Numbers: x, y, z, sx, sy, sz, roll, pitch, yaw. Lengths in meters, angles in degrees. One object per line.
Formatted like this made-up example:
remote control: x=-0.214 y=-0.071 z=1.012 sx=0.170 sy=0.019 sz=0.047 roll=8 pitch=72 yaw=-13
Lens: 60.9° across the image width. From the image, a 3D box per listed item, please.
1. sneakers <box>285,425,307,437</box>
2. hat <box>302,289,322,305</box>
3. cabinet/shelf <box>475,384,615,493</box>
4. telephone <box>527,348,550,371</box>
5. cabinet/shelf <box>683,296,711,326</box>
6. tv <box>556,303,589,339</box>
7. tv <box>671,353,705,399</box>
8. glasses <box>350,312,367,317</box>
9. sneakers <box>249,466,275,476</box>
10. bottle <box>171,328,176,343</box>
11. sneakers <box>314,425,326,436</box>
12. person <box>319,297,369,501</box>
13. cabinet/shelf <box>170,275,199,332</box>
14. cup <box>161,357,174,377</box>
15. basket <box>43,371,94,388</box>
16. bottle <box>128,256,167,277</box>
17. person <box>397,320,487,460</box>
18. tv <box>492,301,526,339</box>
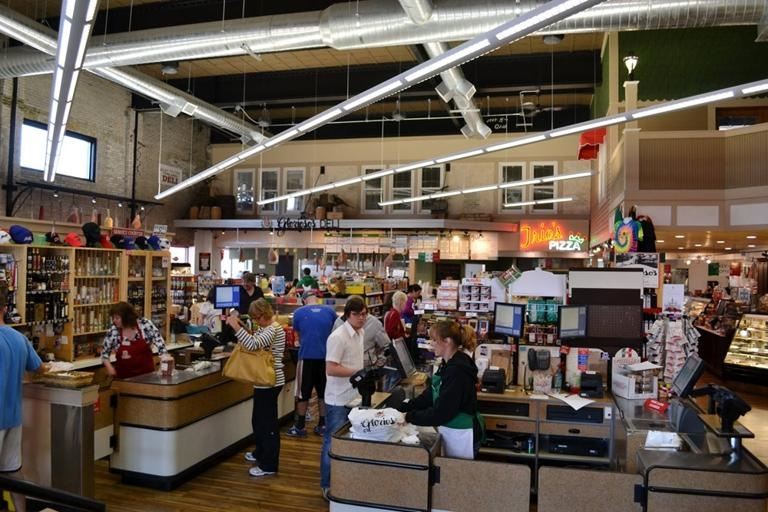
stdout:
sneakers: x=-1.403 y=2.807 z=10.509 sx=0.322 sy=0.146 sz=0.140 roll=2 pitch=-3 yaw=25
hat: x=-1.144 y=0.661 z=10.558 sx=0.270 sy=0.305 sz=0.383 roll=0 pitch=-17 yaw=-16
cabinet/shelf: x=2.087 y=2.347 z=8.411 sx=1.518 sy=0.968 sz=0.507 roll=2 pitch=-3 yaw=5
telephone: x=2.098 y=1.380 z=8.921 sx=0.301 sy=0.236 sz=0.312 roll=-5 pitch=-6 yaw=38
cabinet/shelf: x=7.834 y=1.338 z=16.383 sx=0.550 sy=0.626 sz=1.978 roll=0 pitch=-2 yaw=26
tv: x=2.637 y=0.913 z=9.170 sx=0.552 sy=0.463 sz=0.084 roll=1 pitch=-2 yaw=-38
tv: x=3.978 y=1.594 z=8.576 sx=0.327 sy=0.578 sz=0.627 roll=0 pitch=-1 yaw=19
glasses: x=-0.346 y=0.777 z=8.784 sx=0.220 sy=0.082 sz=0.109 roll=1 pitch=-2 yaw=-33
sneakers: x=-1.756 y=3.068 z=9.364 sx=0.315 sy=0.137 sz=0.145 roll=7 pitch=-5 yaw=-5
bottle: x=-3.719 y=1.415 z=11.570 sx=0.081 sy=0.198 sz=0.075 roll=0 pitch=-1 yaw=0
sneakers: x=-1.038 y=2.811 z=10.542 sx=0.124 sy=0.149 sz=0.337 roll=5 pitch=-14 yaw=-33
person: x=-0.544 y=1.888 z=8.663 sx=0.585 sy=2.687 sz=0.697 roll=0 pitch=-1 yaw=-3
cabinet/shelf: x=-4.290 y=0.947 z=14.075 sx=0.594 sy=1.051 sz=5.311 roll=1 pitch=-1 yaw=-17
cup: x=-3.092 y=1.548 z=9.279 sx=0.168 sy=0.289 sz=0.131 roll=0 pitch=-1 yaw=9
basket: x=-3.998 y=1.559 z=8.324 sx=0.379 sy=0.119 sz=0.261 roll=-3 pitch=-5 yaw=24
bottle: x=-4.775 y=0.206 z=13.162 sx=0.352 sy=0.442 sz=0.946 roll=-1 pitch=-2 yaw=31
person: x=0.747 y=1.605 z=7.936 sx=0.883 sy=1.661 sz=0.412 roll=0 pitch=-1 yaw=7
tv: x=1.789 y=0.929 z=9.331 sx=0.486 sy=0.502 sz=0.174 roll=1 pitch=-2 yaw=34
